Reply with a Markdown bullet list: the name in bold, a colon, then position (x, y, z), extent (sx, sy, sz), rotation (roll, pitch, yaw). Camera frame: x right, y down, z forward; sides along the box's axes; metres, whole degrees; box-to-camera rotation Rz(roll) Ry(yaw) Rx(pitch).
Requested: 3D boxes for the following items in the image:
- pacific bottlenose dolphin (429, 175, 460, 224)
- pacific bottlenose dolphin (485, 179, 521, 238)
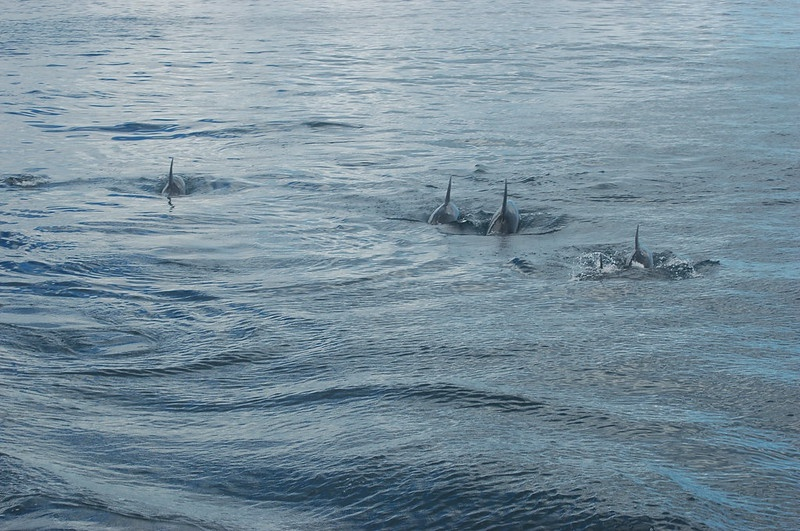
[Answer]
- **pacific bottlenose dolphin**: position (1.236, -1.707, 30.927), extent (0.813, 1.172, 1.213), rotation (3, 16, 2)
- **pacific bottlenose dolphin**: position (2.741, -1.477, 30.157), extent (0.812, 1.284, 1.425), rotation (4, 16, 4)
